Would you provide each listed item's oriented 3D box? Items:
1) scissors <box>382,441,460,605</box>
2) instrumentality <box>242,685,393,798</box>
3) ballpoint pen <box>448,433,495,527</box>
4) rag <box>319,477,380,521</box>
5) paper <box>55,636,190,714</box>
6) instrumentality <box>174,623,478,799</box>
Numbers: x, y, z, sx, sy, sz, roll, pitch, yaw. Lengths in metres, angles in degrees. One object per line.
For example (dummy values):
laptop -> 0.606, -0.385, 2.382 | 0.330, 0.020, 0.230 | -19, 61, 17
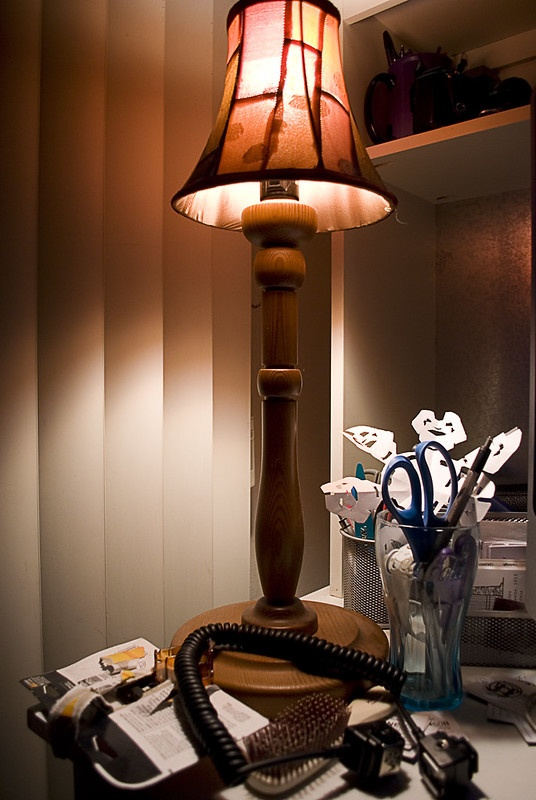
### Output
scissors -> 0.154, 0.123, 0.647 | 0.074, 0.144, 0.025 | -7, 16, 7
instrumentality -> 0.049, 0.269, 0.556 | 0.043, 0.048, 0.176 | 2, -4, 34
ballpoint pen -> 0.231, 0.095, 0.742 | 0.012, 0.118, 0.012 | 22, 6, -35
rag -> 0.110, 0.131, 0.861 | 0.099, 0.073, 0.028 | -2, -34, 13
paper -> -0.147, 0.275, 0.688 | 0.066, 0.022, 0.072 | 12, 9, 26
instrumentality -> 0.036, 0.267, 0.587 | 0.225, 0.080, 0.238 | -2, 2, -17
